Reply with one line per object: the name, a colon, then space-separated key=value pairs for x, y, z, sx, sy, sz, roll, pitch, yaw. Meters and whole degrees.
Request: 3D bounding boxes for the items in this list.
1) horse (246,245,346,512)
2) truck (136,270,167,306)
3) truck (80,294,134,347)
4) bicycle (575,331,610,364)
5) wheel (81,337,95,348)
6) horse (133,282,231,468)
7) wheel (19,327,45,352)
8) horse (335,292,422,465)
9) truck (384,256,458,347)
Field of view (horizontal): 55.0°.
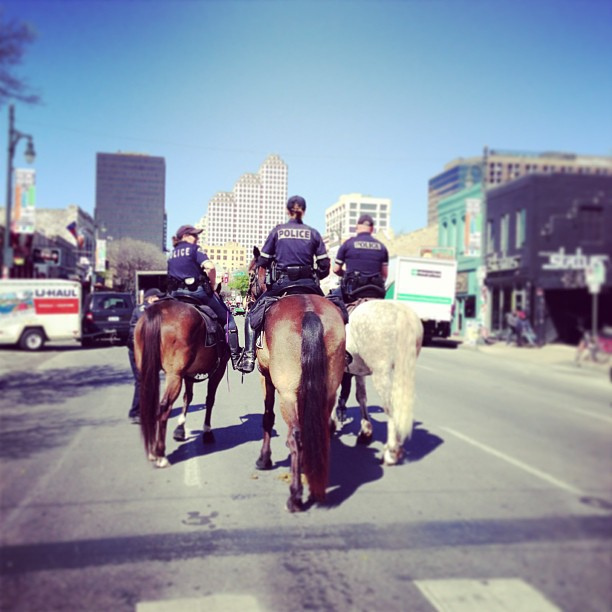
horse: x=-0.061 y=0.824 z=5.619 sx=0.679 sy=2.189 sz=1.164 roll=3 pitch=1 yaw=-16
truck: x=-5.215 y=-0.696 z=19.641 sx=1.311 sy=1.109 sz=0.774 roll=0 pitch=1 yaw=-9
truck: x=-7.798 y=0.093 z=22.520 sx=1.773 sy=2.125 sz=3.970 roll=2 pitch=12 yaw=-32
bicycle: x=9.017 y=1.435 z=18.559 sx=0.752 sy=1.053 sz=2.114 roll=3 pitch=1 yaw=9
wheel: x=-7.978 y=1.252 z=21.568 sx=0.418 sy=0.501 sz=0.467 roll=3 pitch=-23 yaw=-14
horse: x=-1.420 y=0.690 z=7.400 sx=0.585 sy=2.219 sz=2.487 roll=-1 pitch=-3 yaw=13
wheel: x=-8.972 y=1.052 z=19.271 sx=0.668 sy=0.805 sz=0.253 roll=1 pitch=-2 yaw=-25
horse: x=0.731 y=0.702 z=7.456 sx=0.608 sy=2.245 sz=2.655 roll=5 pitch=-5 yaw=-14
truck: x=4.737 y=-0.459 z=26.396 sx=2.552 sy=3.498 sz=5.302 roll=3 pitch=5 yaw=-3
